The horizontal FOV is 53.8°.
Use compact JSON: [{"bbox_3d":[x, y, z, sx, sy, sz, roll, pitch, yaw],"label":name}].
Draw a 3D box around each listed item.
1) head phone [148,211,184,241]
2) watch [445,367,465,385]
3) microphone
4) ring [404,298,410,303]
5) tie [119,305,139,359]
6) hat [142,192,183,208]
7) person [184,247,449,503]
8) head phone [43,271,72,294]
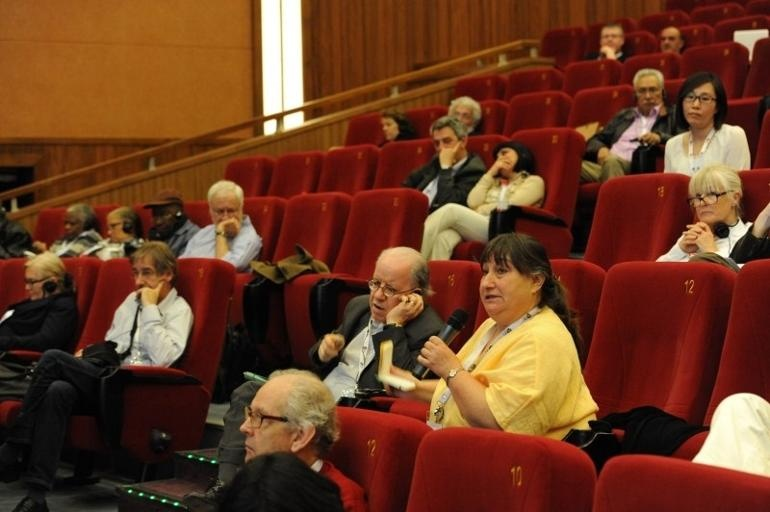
[{"bbox_3d":[-1.003,-0.131,3.471,0.149,0.159,0.115,-9,4,-21],"label":"head phone"},{"bbox_3d":[0.163,0.277,1.750,0.034,0.036,0.034,11,7,2],"label":"watch"},{"bbox_3d":[0.139,0.237,1.981,0.218,0.046,0.053,-43,-13,-22],"label":"microphone"},{"bbox_3d":[0.063,0.132,2.209,0.012,0.013,0.005,-2,-14,0],"label":"ring"},{"bbox_3d":[-0.859,0.270,2.568,0.029,0.217,0.036,21,-12,-38],"label":"tie"},{"bbox_3d":[-1.015,-0.249,3.465,0.125,0.056,0.085,0,-5,-21],"label":"hat"},{"bbox_3d":[-0.214,0.405,2.231,0.676,0.862,0.355,5,9,-32],"label":"person"},{"bbox_3d":[-1.244,0.101,2.862,0.092,0.058,0.070,-2,-4,-23],"label":"head phone"}]
